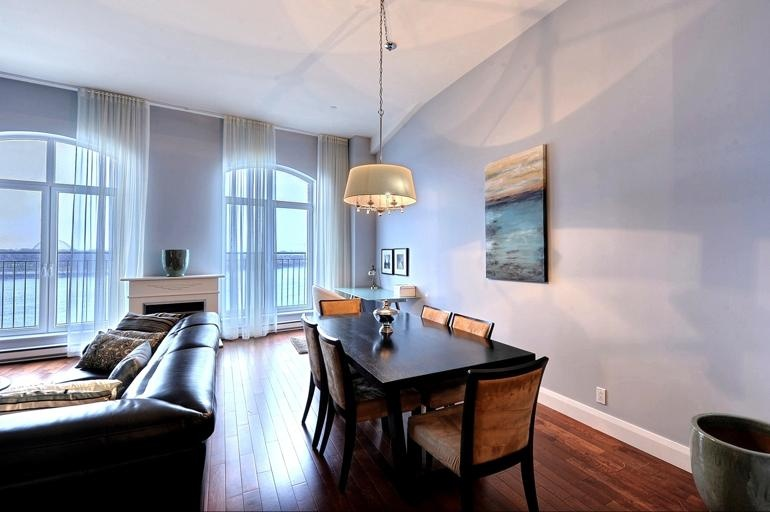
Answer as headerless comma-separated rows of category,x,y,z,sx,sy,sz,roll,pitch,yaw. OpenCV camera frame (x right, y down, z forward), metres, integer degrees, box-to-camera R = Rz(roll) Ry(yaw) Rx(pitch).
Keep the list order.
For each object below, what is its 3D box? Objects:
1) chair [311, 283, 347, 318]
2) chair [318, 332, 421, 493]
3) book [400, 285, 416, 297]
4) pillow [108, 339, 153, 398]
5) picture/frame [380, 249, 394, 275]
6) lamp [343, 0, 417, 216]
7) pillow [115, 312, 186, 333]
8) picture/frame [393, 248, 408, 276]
chair,-0.818,0.636,6.693,0.405,0.463,0.389,0,-3,-24
chair,-0.191,1.268,4.127,0.778,1.256,0.580,-1,1,-9
book,0.320,0.472,6.586,0.171,0.103,0.169,1,-2,-30
pillow,-2.082,0.916,3.862,0.352,0.363,0.110,-39,-52,25
picture/frame,0.029,0.086,7.423,0.019,0.395,0.390,2,-4,-20
lamp,-0.104,-1.506,5.497,0.720,2.133,2.353,-1,1,-3
pillow,-2.397,0.680,4.907,0.324,0.099,0.308,4,5,15
picture/frame,0.232,0.084,7.007,0.045,0.460,0.397,4,-6,-20
